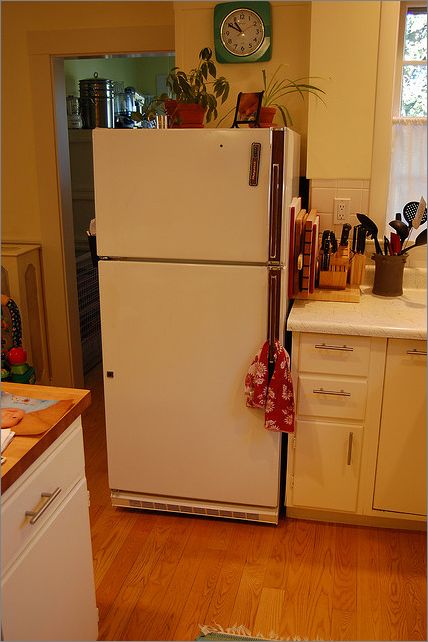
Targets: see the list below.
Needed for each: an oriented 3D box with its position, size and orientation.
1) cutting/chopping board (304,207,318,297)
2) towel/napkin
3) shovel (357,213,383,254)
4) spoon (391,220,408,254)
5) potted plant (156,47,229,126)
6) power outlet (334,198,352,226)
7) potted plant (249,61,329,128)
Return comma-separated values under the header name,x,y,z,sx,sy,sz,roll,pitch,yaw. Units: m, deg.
name,x,y,z,sx,sy,sz,roll,pitch,yaw
cutting/chopping board,0.396,-0.289,1.941,0.057,0.356,0.312,1,8,11
towel/napkin,0.204,0.249,1.728,0.179,0.374,0.097,1,7,8
shovel,0.688,-0.390,2.054,0.063,0.052,0.280,-12,-5,22
spoon,0.787,-0.370,1.992,0.025,0.154,0.075,-16,27,-28
potted plant,-0.085,-0.860,1.769,0.239,0.268,0.201,-6,21,-45
power outlet,0.594,-0.513,2.197,0.074,0.119,0.041,2,8,18
potted plant,0.353,-1.035,2.129,0.268,0.296,0.233,1,8,5
